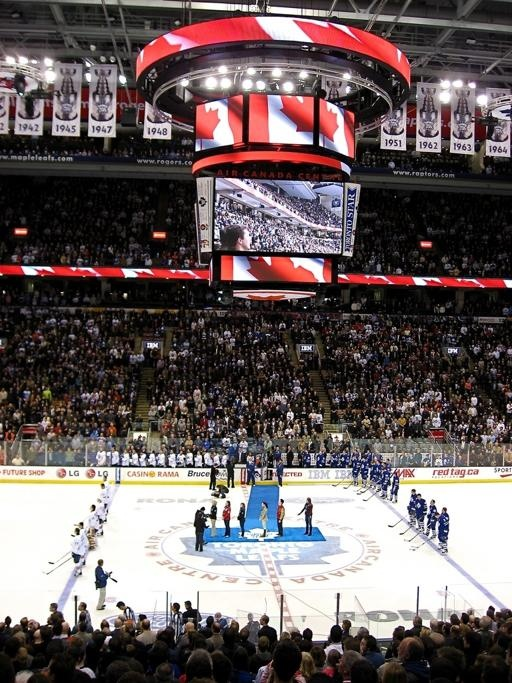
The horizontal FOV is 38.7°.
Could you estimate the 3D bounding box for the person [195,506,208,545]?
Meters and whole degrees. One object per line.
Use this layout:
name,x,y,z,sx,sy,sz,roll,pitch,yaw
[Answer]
person,-1.543,5.100,19.916,0.290,1.257,0.789,2,-2,-5
